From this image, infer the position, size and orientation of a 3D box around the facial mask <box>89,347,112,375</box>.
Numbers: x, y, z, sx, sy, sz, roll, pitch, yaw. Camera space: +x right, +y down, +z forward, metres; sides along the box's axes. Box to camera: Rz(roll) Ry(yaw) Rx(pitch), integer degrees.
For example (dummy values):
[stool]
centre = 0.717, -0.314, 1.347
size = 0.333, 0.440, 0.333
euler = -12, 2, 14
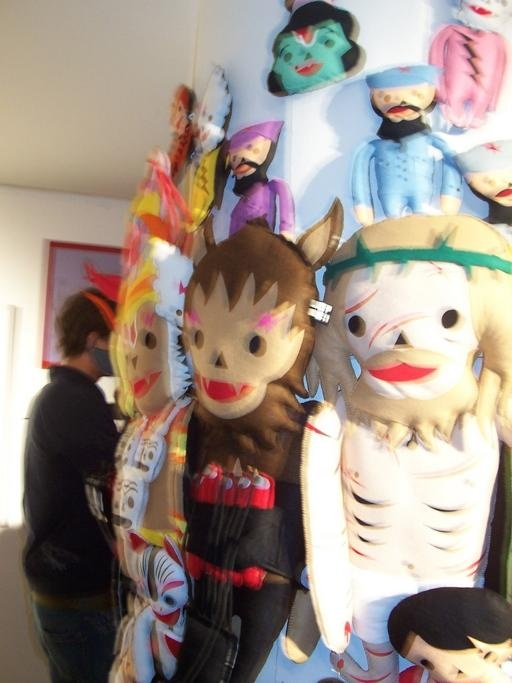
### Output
[facial mask]
centre = -0.493, 0.068, 2.048
size = 0.082, 0.083, 0.049
euler = -13, 43, -30
